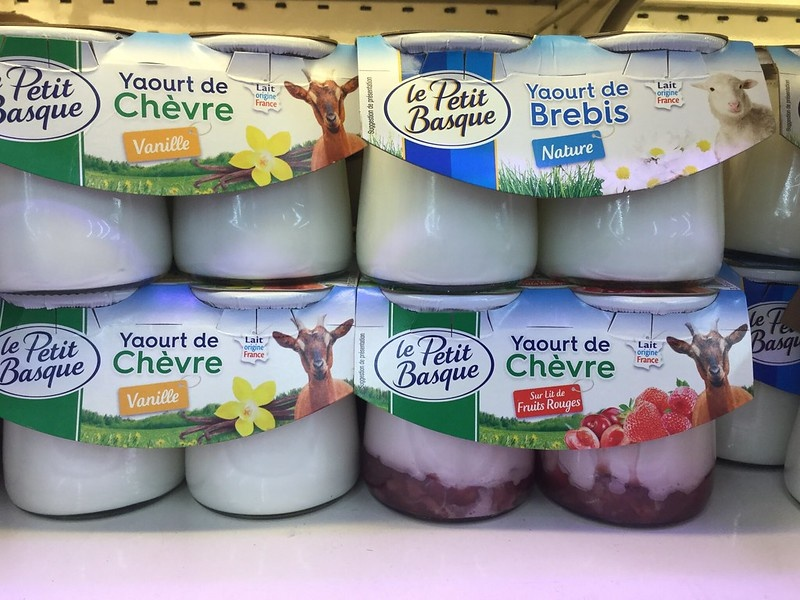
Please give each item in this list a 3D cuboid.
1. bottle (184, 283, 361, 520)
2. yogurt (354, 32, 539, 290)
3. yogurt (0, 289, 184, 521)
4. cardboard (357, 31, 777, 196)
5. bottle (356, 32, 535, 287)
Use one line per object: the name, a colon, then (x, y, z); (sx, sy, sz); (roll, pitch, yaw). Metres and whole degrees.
bottle: (-0.153, 0.153, 1.233); (0.345, 0.355, 0.333); (-2, 7, -4)
yogurt: (0.057, -0.203, 1.062); (0.340, 0.361, 0.337); (0, 7, -1)
yogurt: (-0.530, 0.155, 1.238); (0.322, 0.312, 0.333); (2, 4, 21)
cardboard: (0.240, -0.276, 0.996); (0.589, 0.235, 0.125); (-6, 16, -6)
bottle: (0.059, -0.201, 1.058); (0.339, 0.360, 0.337); (0, 7, -1)
